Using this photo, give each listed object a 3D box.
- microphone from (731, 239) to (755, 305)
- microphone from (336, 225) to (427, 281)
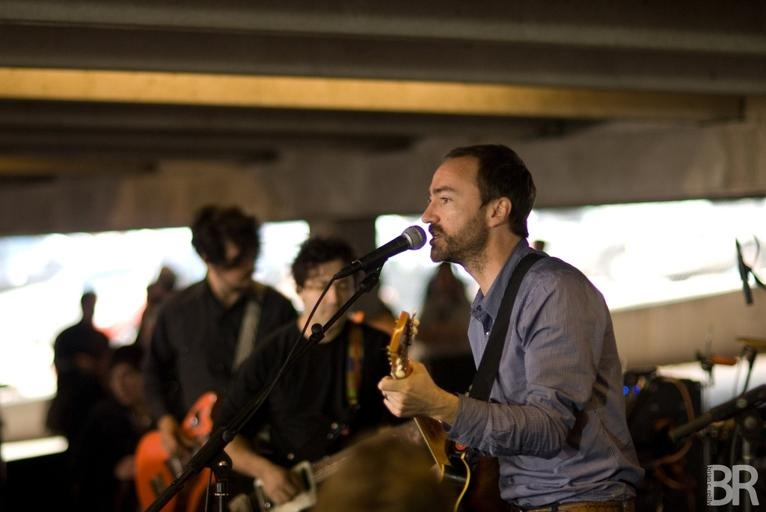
[{"bbox_3d":[1.908,0.101,4.604,0.089,0.275,0.014,-11,-11,32],"label":"microphone"},{"bbox_3d":[-0.033,-0.020,4.397,0.394,0.104,0.104,-29,26,-11],"label":"microphone"}]
